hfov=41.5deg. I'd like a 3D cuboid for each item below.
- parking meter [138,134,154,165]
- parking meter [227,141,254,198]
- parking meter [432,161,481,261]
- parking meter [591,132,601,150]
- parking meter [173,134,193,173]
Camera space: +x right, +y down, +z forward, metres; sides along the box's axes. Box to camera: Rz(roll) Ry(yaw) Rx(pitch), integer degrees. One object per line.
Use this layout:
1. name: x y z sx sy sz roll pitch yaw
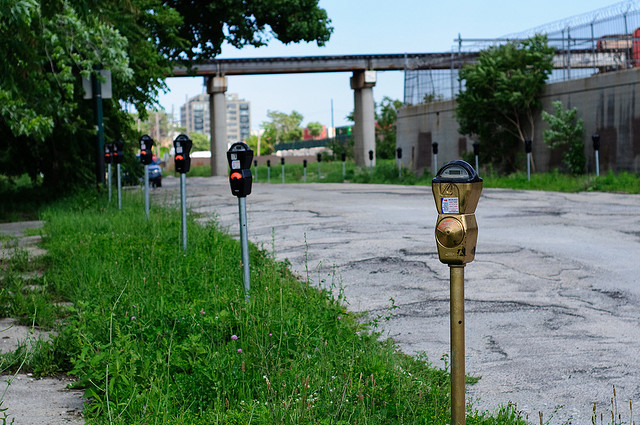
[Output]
1. parking meter: -4.124 -1.415 20.031 0.309 0.715 0.588 -2 14 -12
2. parking meter: -1.408 -0.704 14.800 0.440 1.007 0.455 -1 13 -7
3. parking meter: 1.932 -0.004 12.069 0.674 1.383 0.476 4 13 15
4. parking meter: 8.992 -2.198 27.454 0.275 0.549 0.957 6 15 19
5. parking meter: -2.895 -1.183 17.738 0.339 0.880 0.721 -1 14 -10
